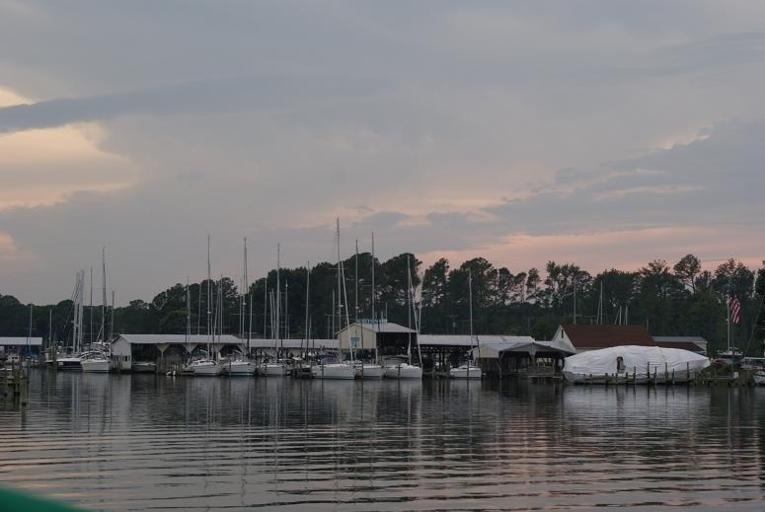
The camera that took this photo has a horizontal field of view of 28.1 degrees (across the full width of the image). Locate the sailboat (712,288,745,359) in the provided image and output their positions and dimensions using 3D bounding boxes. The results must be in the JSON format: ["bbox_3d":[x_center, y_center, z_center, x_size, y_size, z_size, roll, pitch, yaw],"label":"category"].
[{"bbox_3d":[51.280,10.365,225.476,3.433,9.751,3.373,4,-8,-7],"label":"sailboat"}]

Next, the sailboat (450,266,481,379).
[{"bbox_3d":[11.422,7.315,184.185,3.914,15.000,4.813,1,-3,-10],"label":"sailboat"}]
